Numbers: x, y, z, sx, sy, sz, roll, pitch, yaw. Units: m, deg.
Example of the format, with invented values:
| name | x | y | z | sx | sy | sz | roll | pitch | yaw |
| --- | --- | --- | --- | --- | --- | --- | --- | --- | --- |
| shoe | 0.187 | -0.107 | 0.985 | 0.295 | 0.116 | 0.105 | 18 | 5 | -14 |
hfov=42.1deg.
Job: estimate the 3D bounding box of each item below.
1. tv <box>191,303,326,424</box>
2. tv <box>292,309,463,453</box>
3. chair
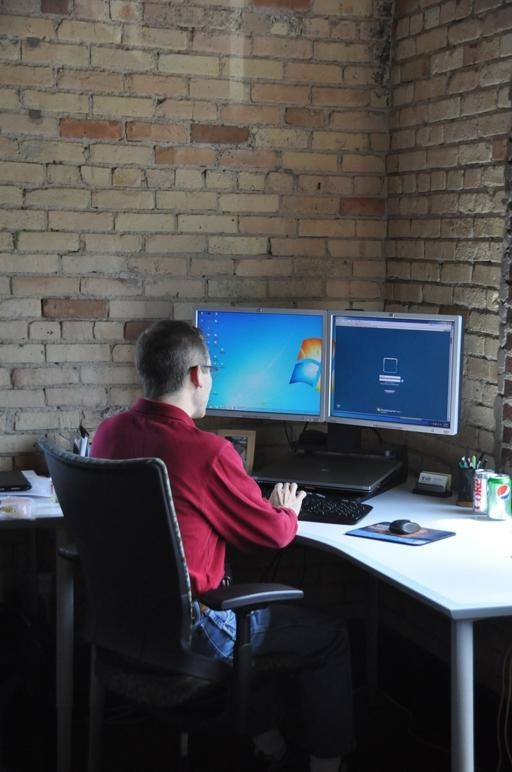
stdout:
| name | x | y | z | sx | sy | sz | roll | pitch | yaw |
| --- | --- | --- | --- | --- | --- | --- | --- | --- | --- |
| tv | 0.016 | -0.075 | 2.054 | 0.378 | 0.312 | 0.029 | 1 | 7 | 15 |
| tv | 0.360 | -0.029 | 1.988 | 0.455 | 0.376 | 0.062 | 4 | 4 | 38 |
| chair | -0.226 | 0.344 | 1.231 | 0.506 | 0.517 | 0.284 | 5 | 9 | 32 |
